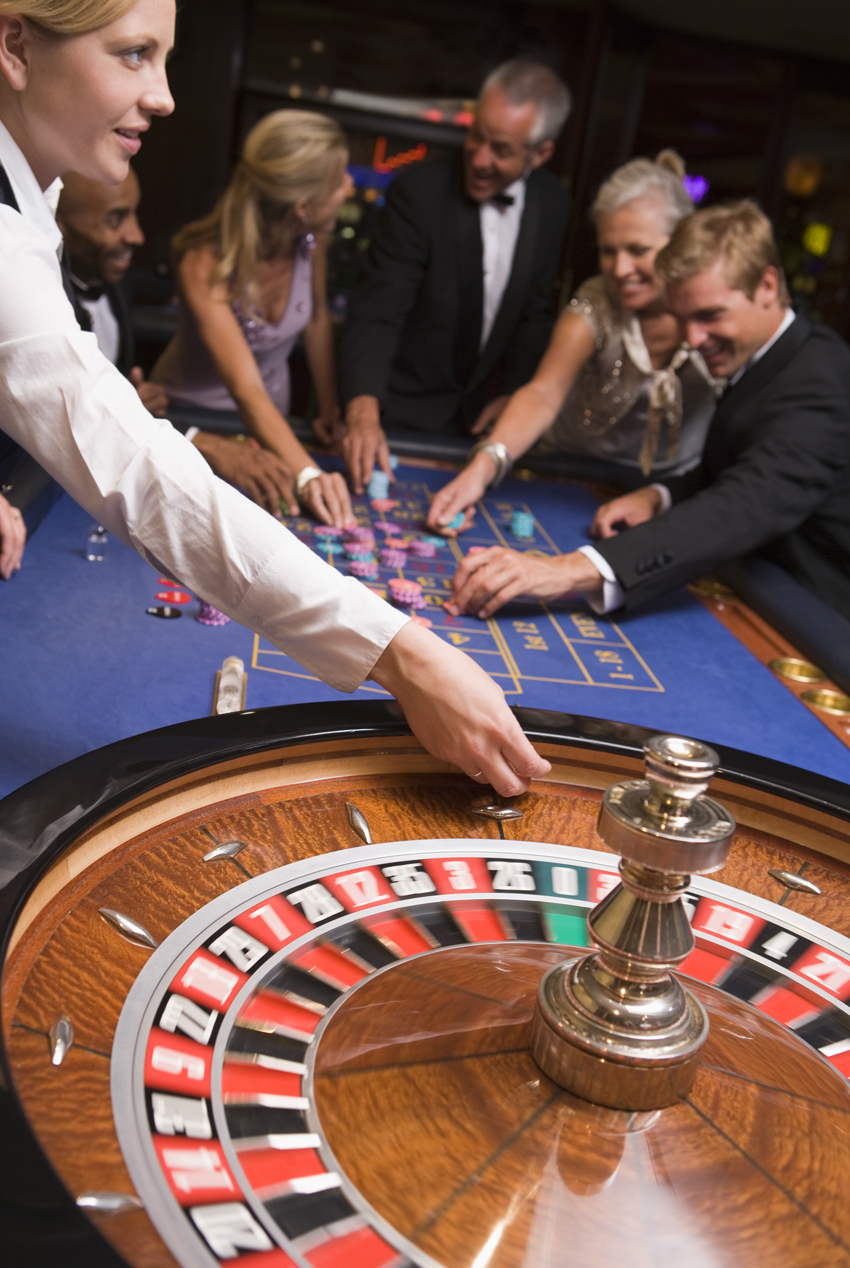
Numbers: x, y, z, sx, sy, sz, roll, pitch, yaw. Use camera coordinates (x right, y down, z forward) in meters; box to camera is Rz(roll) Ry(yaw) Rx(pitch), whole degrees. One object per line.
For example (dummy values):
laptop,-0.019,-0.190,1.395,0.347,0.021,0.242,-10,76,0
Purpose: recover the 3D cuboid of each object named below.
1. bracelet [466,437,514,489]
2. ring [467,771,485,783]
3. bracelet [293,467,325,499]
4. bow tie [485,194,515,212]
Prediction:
bracelet,0.174,-0.447,2.707,0.098,0.120,0.062,-2,-3,-30
ring,0.051,0.144,1.047,0.014,0.010,0.014,-4,26,2
bracelet,-0.277,-0.360,2.533,0.075,0.026,0.077,-11,32,48
bow tie,0.240,-1.338,3.216,0.057,0.034,0.038,5,27,19
